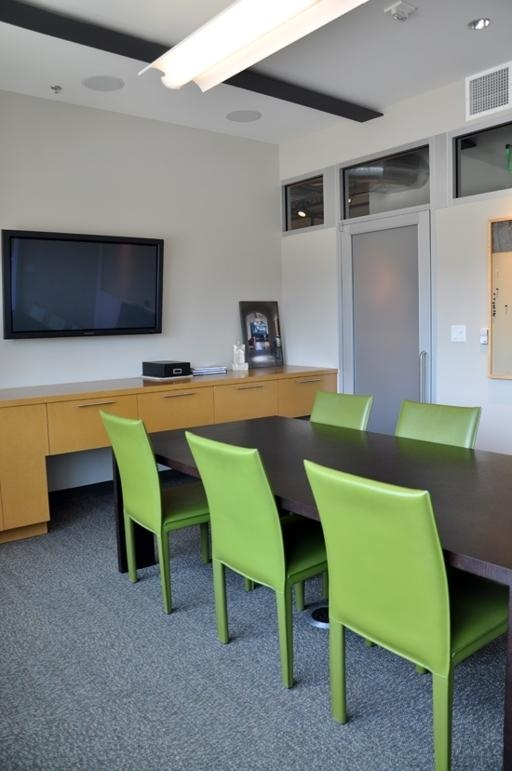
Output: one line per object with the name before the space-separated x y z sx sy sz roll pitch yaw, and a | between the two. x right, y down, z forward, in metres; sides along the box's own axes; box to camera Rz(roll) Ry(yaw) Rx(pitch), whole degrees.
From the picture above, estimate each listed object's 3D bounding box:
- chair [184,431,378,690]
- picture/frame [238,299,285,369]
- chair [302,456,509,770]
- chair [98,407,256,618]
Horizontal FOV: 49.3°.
chair | 0.093 0.570 2.016 0.454 0.821 0.565 3 8 43
picture/frame | 0.030 -0.476 5.278 0.598 0.827 0.058 -5 -2 -44
chair | 0.414 0.575 1.466 0.508 0.789 0.480 -4 4 -33
chair | -0.374 0.539 2.604 0.565 0.842 0.505 -4 6 -29
